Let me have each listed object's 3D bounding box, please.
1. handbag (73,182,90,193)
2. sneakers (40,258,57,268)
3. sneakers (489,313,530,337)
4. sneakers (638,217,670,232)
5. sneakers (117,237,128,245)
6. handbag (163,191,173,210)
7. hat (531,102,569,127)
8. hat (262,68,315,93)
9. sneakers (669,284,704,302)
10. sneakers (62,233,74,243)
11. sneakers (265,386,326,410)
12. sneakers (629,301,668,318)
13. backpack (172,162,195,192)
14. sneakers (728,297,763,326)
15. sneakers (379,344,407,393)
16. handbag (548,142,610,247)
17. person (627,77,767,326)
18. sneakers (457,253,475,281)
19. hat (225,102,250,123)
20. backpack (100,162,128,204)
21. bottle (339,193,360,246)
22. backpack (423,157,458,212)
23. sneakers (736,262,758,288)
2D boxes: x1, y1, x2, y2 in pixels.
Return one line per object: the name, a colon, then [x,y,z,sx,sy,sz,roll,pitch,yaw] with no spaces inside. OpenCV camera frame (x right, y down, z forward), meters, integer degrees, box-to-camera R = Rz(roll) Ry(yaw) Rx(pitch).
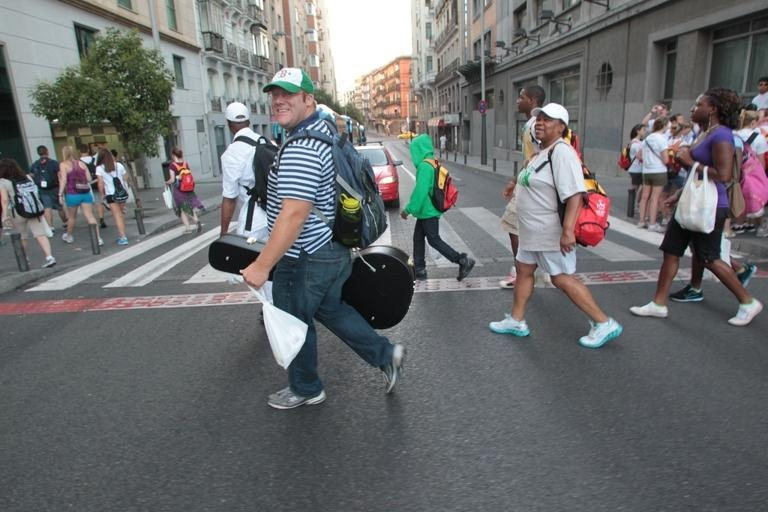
handbag: [-6.521,-1.479,11.429,0.390,0.280,0.199,-9,6,-44]
sneakers: [-5.977,0.105,9.411,0.147,0.175,0.396,-7,4,-40]
sneakers: [1.450,0.779,6.190,0.454,0.229,0.201,8,21,28]
sneakers: [5.071,-0.597,9.953,0.529,0.230,0.200,-11,51,3]
sneakers: [-5.506,-0.328,11.165,0.287,0.126,0.109,4,18,29]
handbag: [-4.872,-1.305,11.991,0.162,0.417,0.372,-9,20,-21]
hat: [1.784,-1.524,5.680,0.356,0.213,0.366,3,19,14]
hat: [-0.818,-1.566,4.658,0.257,0.196,0.378,6,11,38]
sneakers: [3.856,0.459,6.733,0.483,0.231,0.186,0,4,10]
sneakers: [-7.085,-0.390,11.832,0.180,0.197,0.432,-9,26,-39]
sneakers: [-0.862,1.339,5.145,0.562,0.244,0.206,4,6,-15]
sneakers: [3.187,0.646,6.430,0.464,0.204,0.175,4,7,21]
backpack: [-4.495,-1.782,11.831,0.369,0.645,0.260,-11,20,-25]
sneakers: [4.144,0.610,6.056,0.401,0.294,0.186,-6,19,-12]
sneakers: [0.072,1.064,5.050,0.207,0.499,0.181,-2,37,-14]
handbag: [2.047,-0.600,5.560,0.597,1.068,0.465,6,19,23]
person: [3.684,-0.554,6.039,1.164,2.564,0.765,7,20,26]
sneakers: [1.193,0.132,7.731,0.206,0.485,0.170,6,38,-11]
hat: [-1.836,-1.750,6.656,0.361,0.199,0.518,-2,31,-13]
backpack: [-5.962,-1.620,11.788,0.467,0.883,0.483,-15,-1,42]
bottle: [-0.290,-0.303,4.676,0.183,0.497,0.203,24,37,31]
backpack: [0.847,-1.020,7.825,0.430,0.731,0.536,2,10,16]
sneakers: [4.439,0.237,6.494,0.134,0.322,0.118,28,-2,-27]
